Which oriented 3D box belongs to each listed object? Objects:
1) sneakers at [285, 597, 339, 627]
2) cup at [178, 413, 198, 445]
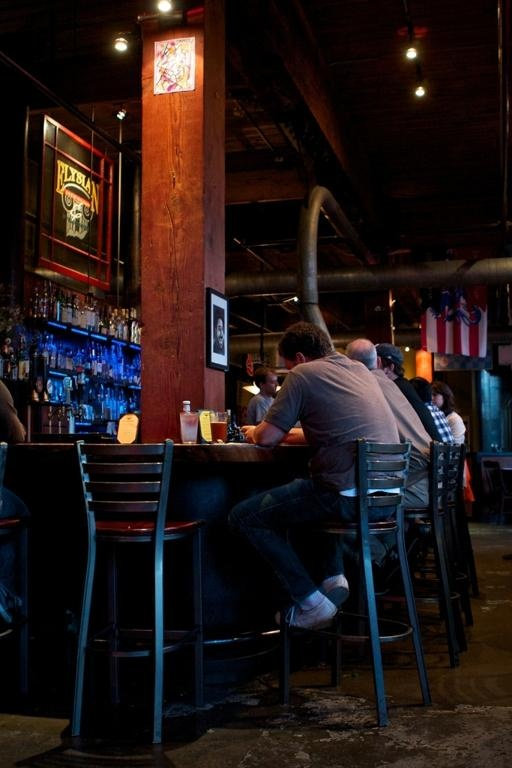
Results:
[{"bbox_3d":[0.197,0.810,2.414,0.152,0.070,0.095,-15,-12,30],"label":"sneakers"},{"bbox_3d":[-0.276,0.183,2.771,0.101,0.172,0.102,0,-10,0],"label":"cup"}]
